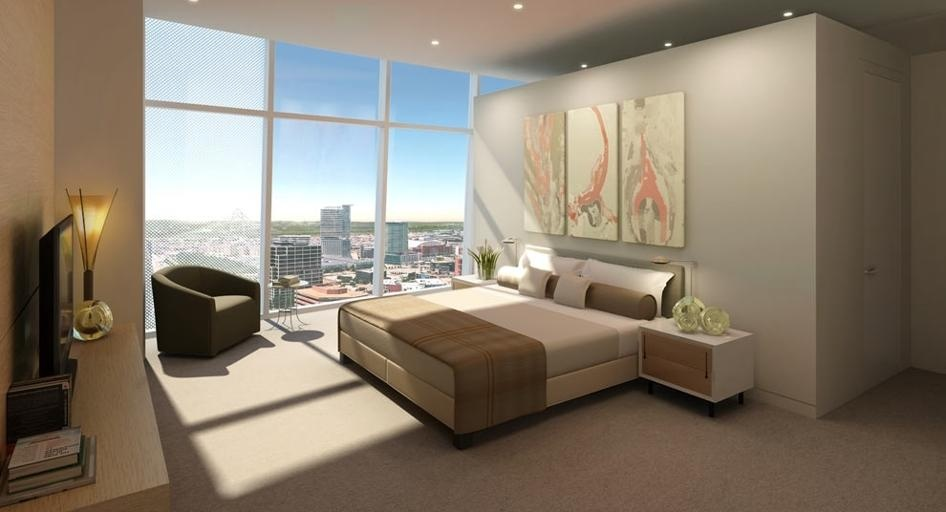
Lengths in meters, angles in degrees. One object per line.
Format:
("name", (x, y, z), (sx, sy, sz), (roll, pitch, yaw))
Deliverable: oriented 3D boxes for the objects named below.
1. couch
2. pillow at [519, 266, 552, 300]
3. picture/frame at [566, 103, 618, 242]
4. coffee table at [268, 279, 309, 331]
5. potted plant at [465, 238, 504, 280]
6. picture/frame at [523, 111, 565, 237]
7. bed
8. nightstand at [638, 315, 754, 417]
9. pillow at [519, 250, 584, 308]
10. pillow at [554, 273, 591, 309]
("couch", (-3.500, 0.674, 7.333), (1.229, 1.169, 1.274), (5, 5, 15))
("pillow", (0.876, 0.382, 7.478), (0.185, 0.324, 0.422), (-13, 14, -40))
("picture/frame", (1.672, -1.154, 7.432), (0.078, 1.853, 1.021), (-7, 11, -27))
("coffee table", (-2.814, 0.644, 8.247), (0.521, 0.787, 1.055), (-5, 8, -18))
("potted plant", (0.222, 0.073, 8.939), (0.642, 0.589, 0.622), (0, 2, 2))
("picture/frame", (1.068, -1.212, 7.995), (0.176, 1.726, 0.740), (-10, 11, -41))
("bed", (0.645, 0.974, 6.266), (2.715, 1.053, 2.539), (-1, 4, -33))
("nightstand", (2.622, 1.247, 6.334), (0.867, 0.777, 1.080), (-5, 7, -27))
("pillow", (1.092, 0.330, 7.387), (0.751, 0.307, 0.292), (5, 30, 46))
("pillow", (1.303, 0.458, 7.103), (0.248, 0.384, 0.517), (-10, 12, -34))
